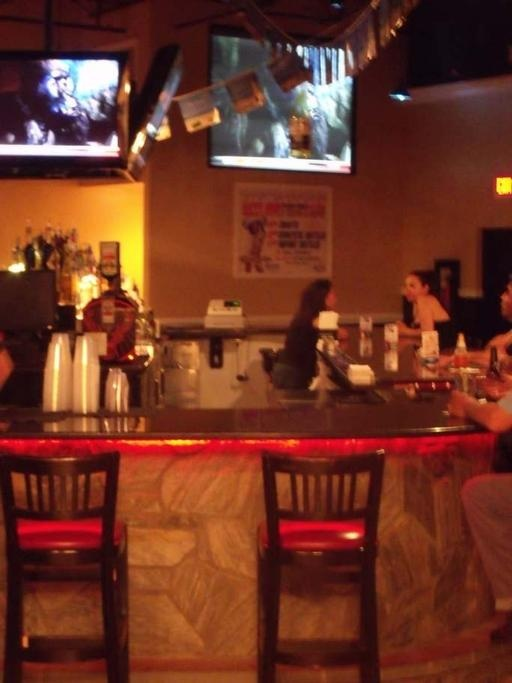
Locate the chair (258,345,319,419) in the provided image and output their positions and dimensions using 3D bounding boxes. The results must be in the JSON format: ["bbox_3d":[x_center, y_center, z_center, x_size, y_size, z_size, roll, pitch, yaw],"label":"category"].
[{"bbox_3d":[0.201,0.212,3.196,0.314,0.357,0.250,0,0,-19],"label":"chair"}]

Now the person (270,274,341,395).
[{"bbox_3d":[0.336,0.011,4.249,0.401,0.862,0.312,-3,-26,23],"label":"person"}]

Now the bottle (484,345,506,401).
[{"bbox_3d":[1.174,0.157,3.156,0.092,0.170,0.057,4,-20,-6],"label":"bottle"}]

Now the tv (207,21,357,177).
[{"bbox_3d":[0.120,-1.880,5.045,1.499,1.562,0.078,-1,4,-20],"label":"tv"}]

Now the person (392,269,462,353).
[{"bbox_3d":[1.360,-0.097,5.116,0.376,0.954,0.374,-12,13,-42],"label":"person"}]
